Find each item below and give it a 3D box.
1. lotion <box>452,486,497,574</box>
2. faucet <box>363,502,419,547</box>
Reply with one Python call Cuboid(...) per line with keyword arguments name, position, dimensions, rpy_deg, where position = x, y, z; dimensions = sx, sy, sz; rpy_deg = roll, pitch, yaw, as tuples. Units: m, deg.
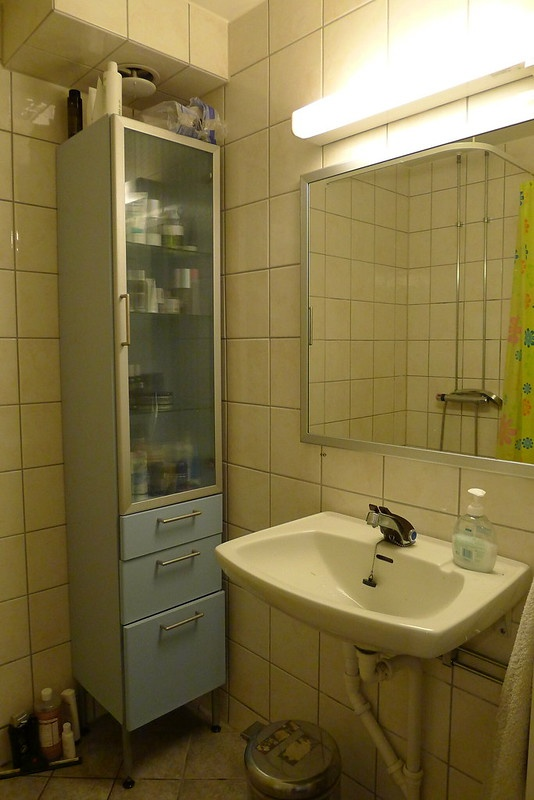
Cuboid(name="lotion", position=(0.407, 0.254, 1.246), dimensions=(0.089, 0.159, 0.053), rpy_deg=(9, 12, 43))
Cuboid(name="faucet", position=(0.269, 0.272, 1.397), dimensions=(0.104, 0.097, 0.085), rpy_deg=(-8, 11, -28))
